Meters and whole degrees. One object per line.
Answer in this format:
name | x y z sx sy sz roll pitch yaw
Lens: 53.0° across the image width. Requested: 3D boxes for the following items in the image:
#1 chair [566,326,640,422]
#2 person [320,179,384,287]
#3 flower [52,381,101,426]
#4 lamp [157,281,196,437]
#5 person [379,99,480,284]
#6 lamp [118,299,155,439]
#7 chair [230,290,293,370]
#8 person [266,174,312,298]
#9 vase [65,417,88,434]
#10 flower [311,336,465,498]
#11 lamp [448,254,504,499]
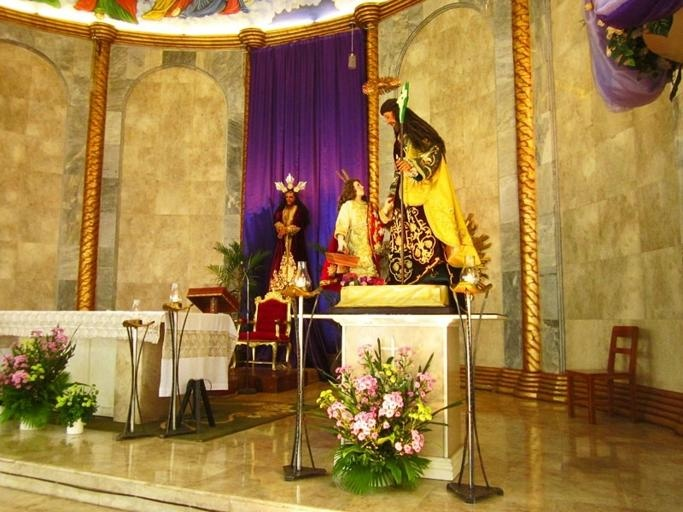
chair | 2.949 1.334 7.836 0.704 1.122 0.738 5 -6 -26
person | 0.185 -0.241 7.885 0.760 1.421 0.418 1 -26 -9
flower | -2.727 1.581 7.214 0.318 0.370 0.353 -11 -6 23
lamp | -1.774 1.080 7.283 0.329 1.606 0.757 -1 5 -13
person | 0.808 -0.608 6.941 0.968 1.916 1.041 3 -12 -33
lamp | -2.175 1.196 7.291 0.384 1.315 0.778 -2 5 -15
chair | -1.207 1.108 10.696 0.725 1.340 0.740 -3 -13 23
person | -0.893 -0.381 11.595 0.674 2.040 0.593 3 32 -3
vase | -2.759 1.772 7.139 0.150 0.196 0.169 2 -12 1
flower | 0.335 1.305 5.806 1.096 0.864 1.178 -1 -5 18
lamp | 1.100 1.025 5.739 0.443 1.863 0.678 0 5 3
